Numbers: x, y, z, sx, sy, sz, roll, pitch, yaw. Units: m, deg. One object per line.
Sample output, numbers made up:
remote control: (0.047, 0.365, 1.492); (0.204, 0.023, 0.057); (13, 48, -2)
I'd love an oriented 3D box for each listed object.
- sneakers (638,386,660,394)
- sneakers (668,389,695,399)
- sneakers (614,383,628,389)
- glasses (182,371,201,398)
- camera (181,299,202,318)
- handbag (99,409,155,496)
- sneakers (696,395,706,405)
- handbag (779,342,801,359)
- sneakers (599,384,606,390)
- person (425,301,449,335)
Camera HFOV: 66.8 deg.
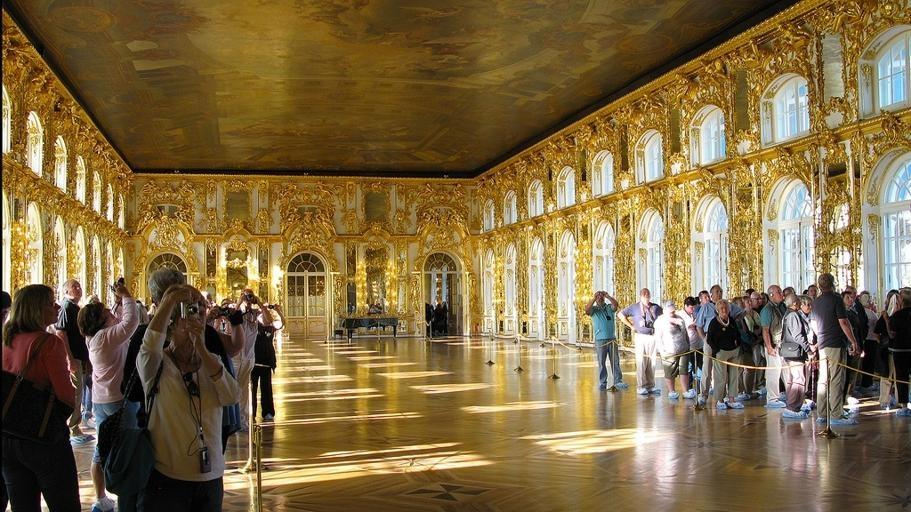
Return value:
sneakers: (4.256, 2.940, 15.101); (0.190, 0.197, 0.521); (3, -11, -22)
sneakers: (4.775, 2.891, 14.475); (0.662, 0.238, 0.213); (-1, -3, 3)
sneakers: (3.829, 2.986, 15.847); (0.275, 0.092, 0.143); (-2, -2, 9)
glasses: (-2.778, 1.353, 7.253); (0.208, 0.229, 0.090); (5, -8, -12)
camera: (-2.775, 0.563, 7.252); (0.207, 0.165, 0.075); (-2, 3, -20)
handbag: (-3.423, 2.035, 7.174); (0.557, 0.935, 0.327); (-2, 3, -14)
sneakers: (4.948, 2.913, 13.946); (0.153, 0.103, 0.237); (-1, -7, -6)
handbag: (6.434, 1.816, 13.217); (0.145, 0.276, 0.385); (5, -7, -36)
sneakers: (3.344, 2.977, 15.652); (0.134, 0.099, 0.119); (1, -2, -5)
person: (-0.909, 3.058, 33.433); (0.628, 1.536, 1.320); (1, 4, 41)
